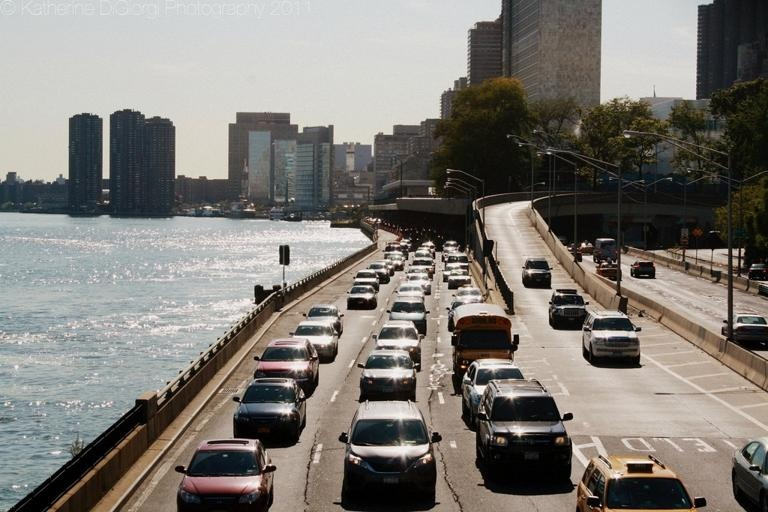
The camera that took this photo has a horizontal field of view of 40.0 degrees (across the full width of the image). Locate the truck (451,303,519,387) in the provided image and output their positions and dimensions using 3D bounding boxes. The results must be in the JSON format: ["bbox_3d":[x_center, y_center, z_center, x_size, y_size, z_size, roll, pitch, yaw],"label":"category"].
[{"bbox_3d":[5.214,4.211,56.683,2.740,2.862,4.765,0,0,-1],"label":"truck"}]

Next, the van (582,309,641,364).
[{"bbox_3d":[13.178,4.835,61.243,3.322,2.850,3.146,-9,8,9],"label":"van"}]

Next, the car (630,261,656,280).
[{"bbox_3d":[24.564,1.233,100.145,1.418,1.102,2.277,0,8,3],"label":"car"}]

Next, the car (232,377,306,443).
[{"bbox_3d":[-5.113,7.078,46.990,3.170,2.646,1.786,-12,9,-12],"label":"car"}]

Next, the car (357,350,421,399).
[{"bbox_3d":[0.236,6.089,51.362,2.830,2.439,2.170,-16,10,-36],"label":"car"}]
